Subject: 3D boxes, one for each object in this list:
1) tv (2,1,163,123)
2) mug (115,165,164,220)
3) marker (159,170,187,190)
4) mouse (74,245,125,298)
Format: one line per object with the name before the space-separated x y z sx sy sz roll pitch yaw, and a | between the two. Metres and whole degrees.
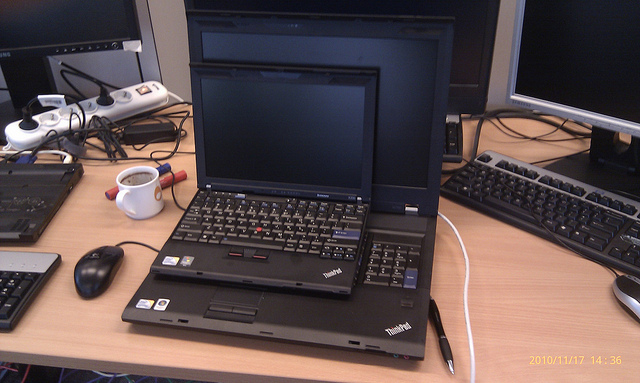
tv | -0.810 -0.443 1.632 0.463 0.307 0.208 -3 48 -2
mug | -0.493 0.003 1.323 0.116 0.124 0.098 -6 27 -16
marker | -0.428 -0.038 1.411 0.099 0.027 0.027 -29 4 -12
mouse | -0.553 0.186 1.199 0.096 0.055 0.161 12 35 -8
